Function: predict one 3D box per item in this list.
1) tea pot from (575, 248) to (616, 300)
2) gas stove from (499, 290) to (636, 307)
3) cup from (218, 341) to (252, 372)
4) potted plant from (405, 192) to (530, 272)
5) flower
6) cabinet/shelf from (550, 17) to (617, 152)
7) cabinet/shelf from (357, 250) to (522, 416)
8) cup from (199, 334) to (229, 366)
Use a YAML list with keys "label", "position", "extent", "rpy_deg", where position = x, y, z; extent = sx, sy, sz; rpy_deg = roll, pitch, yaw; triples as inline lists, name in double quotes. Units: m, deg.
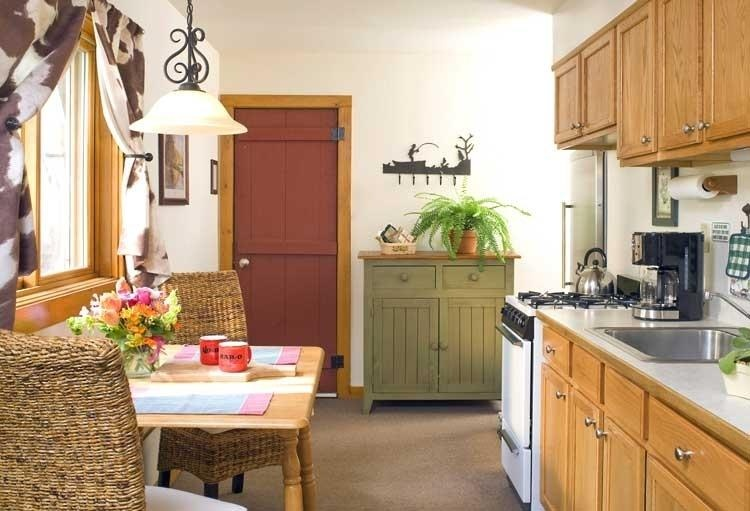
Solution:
- label: "tea pot"
  position: [1.326, 0.117, 3.694]
  extent: [0.216, 0.330, 0.318]
  rpy_deg: [1, -2, -37]
- label: "gas stove"
  position: [1.126, 0.246, 3.422]
  extent: [0.630, 0.036, 0.440]
  rpy_deg: [1, 8, 6]
- label: "cup"
  position: [-0.599, 0.430, 2.554]
  extent: [0.147, 0.109, 0.114]
  rpy_deg: [2, -2, -41]
- label: "potted plant"
  position: [0.822, -0.250, 4.698]
  extent: [0.719, 0.412, 0.905]
  rpy_deg: [0, -3, -16]
- label: "flower"
  position: [-1.059, 0.258, 2.589]
  extent: [0.435, 0.391, 0.433]
  rpy_deg: [1, 0, -35]
- label: "cabinet/shelf"
  position: [1.303, -0.933, 3.486]
  extent: [0.323, 0.538, 0.714]
  rpy_deg: [-1, 0, -9]
- label: "cabinet/shelf"
  position: [0.476, 0.554, 4.461]
  extent: [1.261, 1.271, 0.493]
  rpy_deg: [0, 0, -1]
- label: "cup"
  position: [-0.695, 0.419, 2.647]
  extent: [0.115, 0.120, 0.117]
  rpy_deg: [1, -3, 0]
